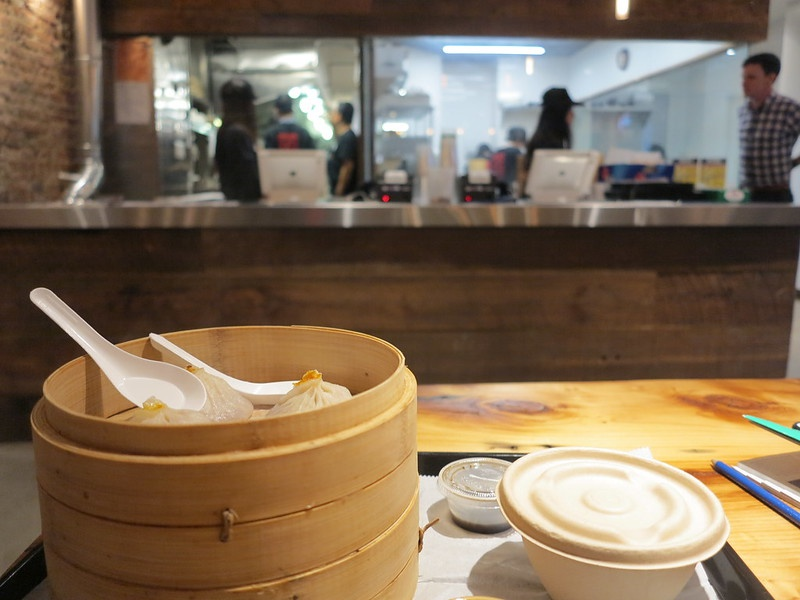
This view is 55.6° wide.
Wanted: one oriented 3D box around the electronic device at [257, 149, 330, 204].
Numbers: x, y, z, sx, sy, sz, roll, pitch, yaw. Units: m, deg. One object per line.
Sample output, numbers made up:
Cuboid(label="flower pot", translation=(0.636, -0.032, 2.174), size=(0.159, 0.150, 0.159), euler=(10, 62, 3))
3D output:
Cuboid(label="electronic device", translation=(-0.530, -0.613, 3.736), size=(0.311, 0.241, 0.121), euler=(0, 13, 5))

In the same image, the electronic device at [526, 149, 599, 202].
Cuboid(label="electronic device", translation=(0.791, -0.633, 3.825), size=(0.286, 0.237, 0.325), euler=(-8, 14, -31))

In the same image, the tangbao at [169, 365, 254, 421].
Cuboid(label="tangbao", translation=(-0.307, 0.139, 1.303), size=(0.155, 0.038, 0.104), euler=(32, 22, 31))

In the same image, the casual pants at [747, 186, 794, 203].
Cuboid(label="casual pants", translation=(2.084, -0.596, 4.279), size=(0.274, 0.060, 0.236), euler=(-2, 6, -18))

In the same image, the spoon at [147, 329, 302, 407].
Cuboid(label="spoon", translation=(-0.313, 0.118, 1.334), size=(0.235, 0.040, 0.035), euler=(24, 35, -8))

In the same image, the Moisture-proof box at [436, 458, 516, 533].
Cuboid(label="Moisture-proof box", translation=(0.132, 0.349, 1.408), size=(0.131, 0.056, 0.124), euler=(0, 16, 0))

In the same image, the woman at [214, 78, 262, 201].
Cuboid(label="woman", translation=(-0.962, -0.866, 4.417), size=(0.233, 0.849, 0.306), euler=(-15, 44, -31))

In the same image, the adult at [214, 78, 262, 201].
Cuboid(label="adult", translation=(-0.963, -0.945, 4.400), size=(0.239, 0.698, 0.912), euler=(-4, 12, -11))

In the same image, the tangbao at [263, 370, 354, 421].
Cuboid(label="tangbao", translation=(-0.158, 0.155, 1.304), size=(0.162, 0.061, 0.114), euler=(-12, 14, -5))
